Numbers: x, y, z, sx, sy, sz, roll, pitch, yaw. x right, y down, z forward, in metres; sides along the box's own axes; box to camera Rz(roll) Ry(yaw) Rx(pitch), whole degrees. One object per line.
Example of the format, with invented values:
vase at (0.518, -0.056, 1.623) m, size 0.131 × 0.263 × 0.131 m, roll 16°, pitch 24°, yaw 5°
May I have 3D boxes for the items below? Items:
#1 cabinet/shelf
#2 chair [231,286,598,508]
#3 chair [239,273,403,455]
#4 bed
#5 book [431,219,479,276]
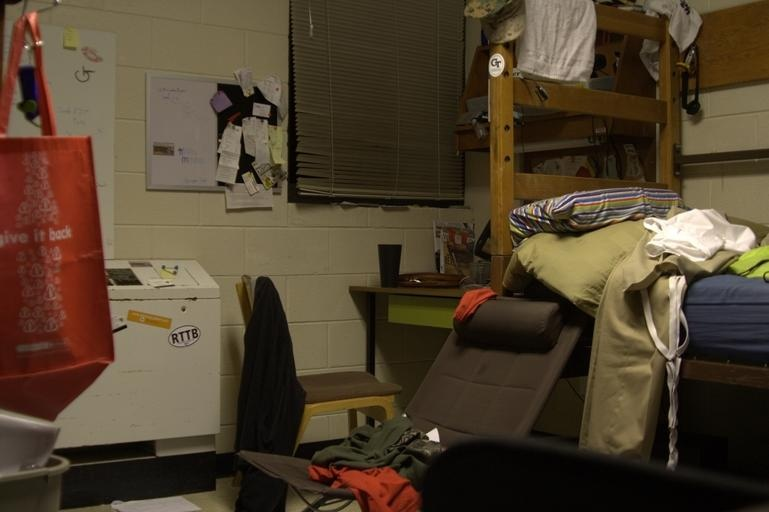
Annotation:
cabinet/shelf at (0.936, -0.863, 3.018) m, size 1.189 × 0.714 × 0.720 m, roll -2°, pitch 0°, yaw -23°
chair at (0.138, 0.439, 2.184) m, size 1.258 × 0.756 × 0.788 m, roll -1°, pitch 2°, yaw -34°
chair at (-0.377, 0.499, 3.218) m, size 0.896 × 1.134 × 0.779 m, roll -2°, pitch 2°, yaw -15°
bed at (0.842, 0.176, 2.050) m, size 0.807 × 0.473 × 0.780 m, roll -4°, pitch 7°, yaw -40°
book at (0.461, -0.051, 3.824) m, size 0.346 × 0.363 × 0.048 m, roll 7°, pitch -14°, yaw -38°
